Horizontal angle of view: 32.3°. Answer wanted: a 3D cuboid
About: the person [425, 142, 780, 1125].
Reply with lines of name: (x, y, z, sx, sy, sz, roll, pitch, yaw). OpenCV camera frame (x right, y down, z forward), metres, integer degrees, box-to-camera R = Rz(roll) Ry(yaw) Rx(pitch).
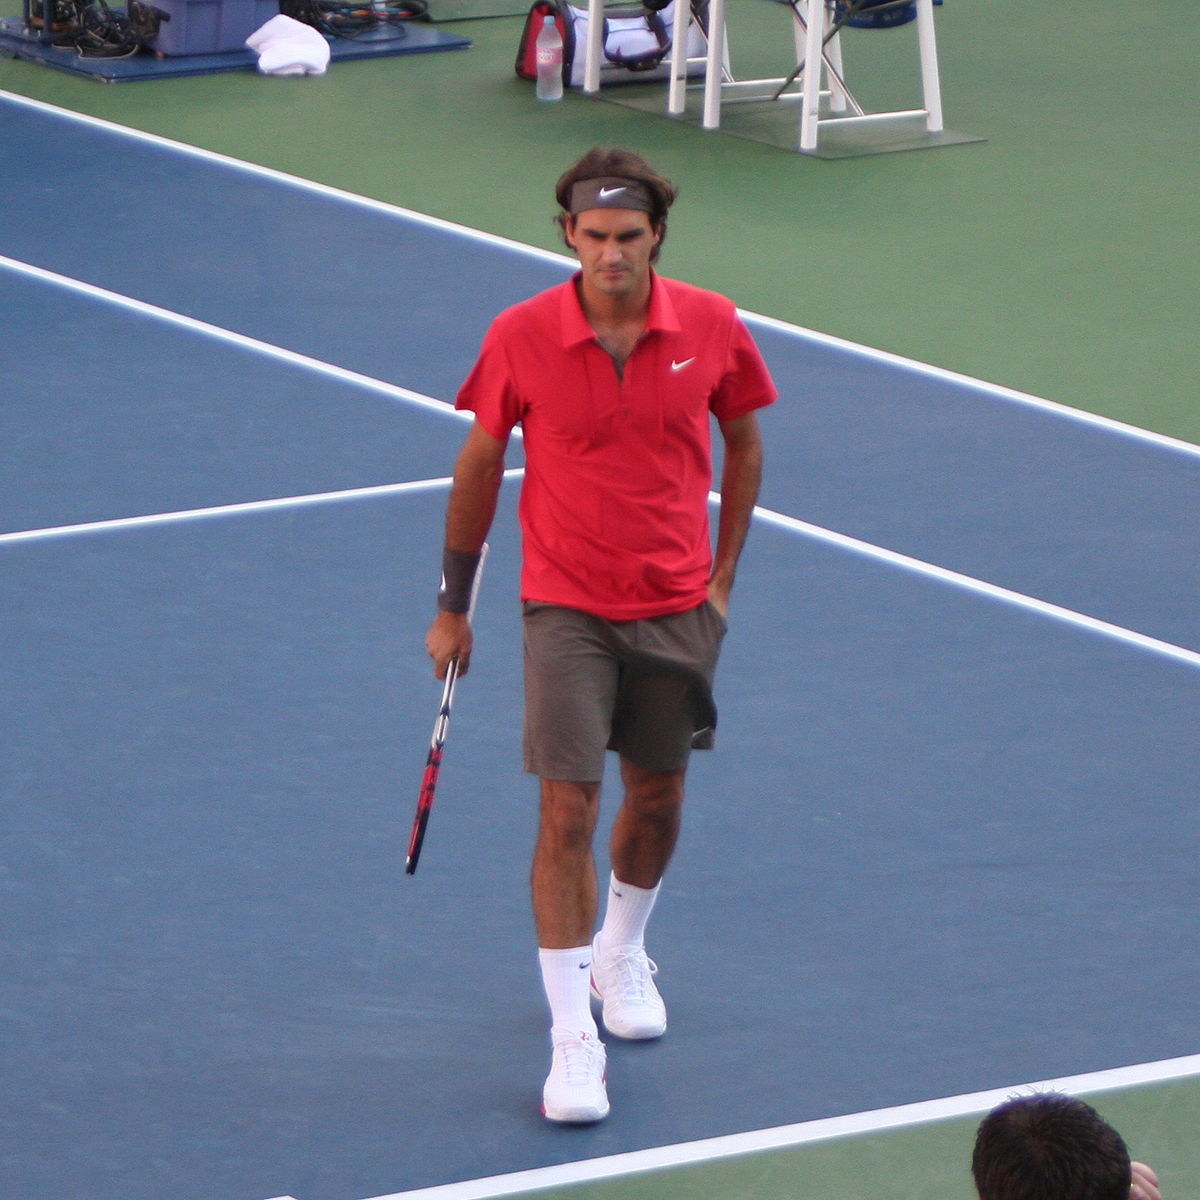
person: (-0.041, 0.072, 5.290, 0.754, 2.398, 0.990, 6, 17, 13)

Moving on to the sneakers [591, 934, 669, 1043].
sneakers: (0.082, 1.047, 5.540, 0.163, 0.105, 0.334, -4, 15, -21)

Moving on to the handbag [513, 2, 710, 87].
handbag: (0.027, -4.613, 17.198, 1.907, 0.674, 0.849, -6, 35, -17)

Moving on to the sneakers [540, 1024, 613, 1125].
sneakers: (-0.050, 1.189, 5.183, 0.161, 0.224, 0.134, 2, 15, 0)
